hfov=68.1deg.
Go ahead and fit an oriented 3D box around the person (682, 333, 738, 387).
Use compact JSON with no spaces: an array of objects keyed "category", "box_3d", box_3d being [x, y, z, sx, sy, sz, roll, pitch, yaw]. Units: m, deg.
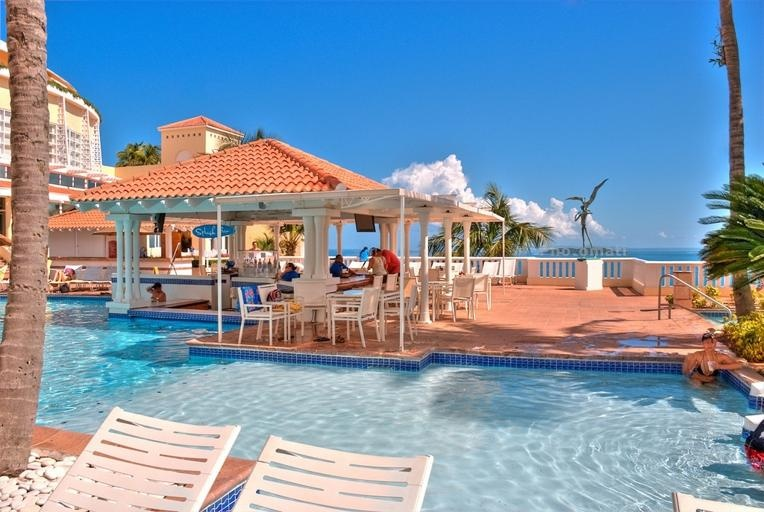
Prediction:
[{"category":"person","box_3d":[5.515,1.786,9.404,0.604,0.881,1.029,2,-4,-38]}]
